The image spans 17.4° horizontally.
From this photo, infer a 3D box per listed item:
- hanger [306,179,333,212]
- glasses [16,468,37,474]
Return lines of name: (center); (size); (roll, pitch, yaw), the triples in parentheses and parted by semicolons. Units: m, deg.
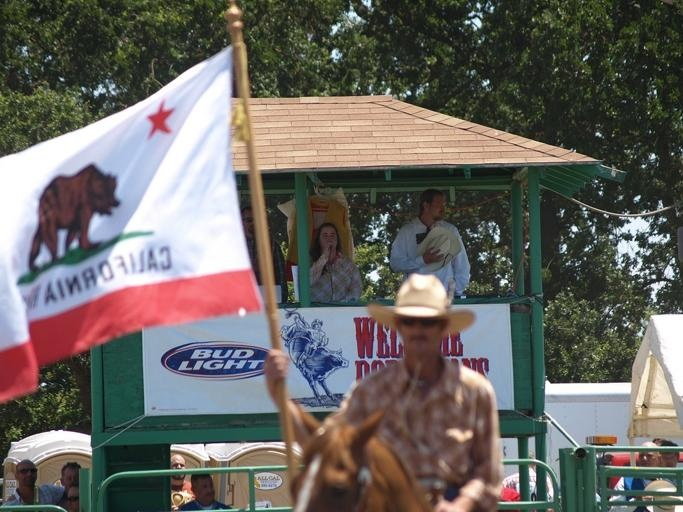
hanger: (-0.648, -1.623, 61.076); (0.572, 0.819, 0.297); (1, 4, -4)
glasses: (-8.525, 5.860, 60.280); (0.484, 0.146, 0.175); (1, -5, -29)
